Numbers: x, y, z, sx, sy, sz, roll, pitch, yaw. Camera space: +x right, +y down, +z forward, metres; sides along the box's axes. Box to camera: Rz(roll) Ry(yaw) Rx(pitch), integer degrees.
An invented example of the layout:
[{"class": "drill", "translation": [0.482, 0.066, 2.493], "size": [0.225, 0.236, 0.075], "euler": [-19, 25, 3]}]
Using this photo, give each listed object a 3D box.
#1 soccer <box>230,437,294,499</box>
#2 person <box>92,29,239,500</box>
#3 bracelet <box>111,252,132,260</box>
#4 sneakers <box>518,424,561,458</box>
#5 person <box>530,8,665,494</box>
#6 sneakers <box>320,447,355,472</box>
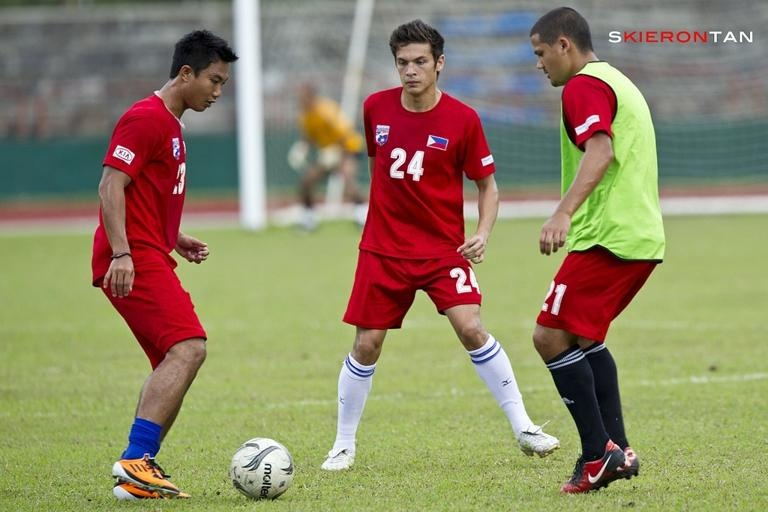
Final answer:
[{"class": "soccer", "translation": [-0.962, 1.761, 8.323], "size": [0.499, 0.445, 0.497], "euler": [0, 50, 2]}, {"class": "person", "translation": [-1.883, 0.041, 8.369], "size": [1.052, 3.722, 1.299], "euler": [0, 13, 11]}, {"class": "bracelet", "translation": [-2.161, -0.009, 8.239], "size": [0.155, 0.060, 0.078], "euler": [-4, 13, -10]}, {"class": "sneakers", "translation": [1.310, 1.584, 8.640], "size": [0.231, 0.210, 0.415], "euler": [-10, 1, -38]}, {"class": "person", "translation": [1.770, -0.081, 8.305], "size": [1.012, 3.893, 1.176], "euler": [2, 13, 18]}, {"class": "sneakers", "translation": [-0.398, 1.768, 8.715], "size": [0.146, 0.114, 0.288], "euler": [1, 2, 36]}]
